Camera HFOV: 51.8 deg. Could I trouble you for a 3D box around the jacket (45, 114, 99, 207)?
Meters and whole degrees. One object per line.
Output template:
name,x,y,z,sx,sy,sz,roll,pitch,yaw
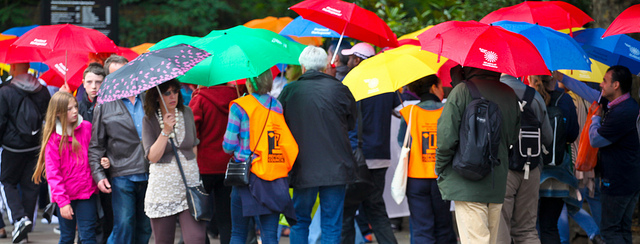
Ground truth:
jacket,-5.713,0.940,15.107,1.111,2.005,0.384,4,-16,-19

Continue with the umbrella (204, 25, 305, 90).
umbrella,-1.700,-1.129,15.464,1.953,1.667,1.023,-20,-36,-16

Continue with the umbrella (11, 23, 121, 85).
umbrella,-6.431,-1.783,16.694,2.405,1.273,2.235,7,14,19

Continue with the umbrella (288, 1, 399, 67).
umbrella,0.635,-2.362,16.215,2.173,1.093,1.941,22,-7,1

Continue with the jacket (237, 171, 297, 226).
jacket,-1.072,1.636,14.999,1.672,1.449,0.999,2,2,12

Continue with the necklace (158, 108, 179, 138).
necklace,-3.326,0.037,14.589,0.510,0.581,0.168,-2,10,18

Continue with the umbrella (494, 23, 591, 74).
umbrella,5.239,-1.706,14.816,1.632,0.443,1.580,23,23,27

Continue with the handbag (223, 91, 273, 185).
handbag,-1.659,0.767,14.614,0.930,1.251,0.235,-8,-16,27

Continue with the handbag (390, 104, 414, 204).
handbag,1.909,0.853,15.427,0.443,2.069,0.657,0,-15,-2

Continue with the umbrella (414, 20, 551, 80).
umbrella,3.768,-1.776,14.827,2.828,0.728,2.317,7,30,-5

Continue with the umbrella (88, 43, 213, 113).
umbrella,-3.586,-1.103,14.681,1.781,0.867,1.611,-23,12,14

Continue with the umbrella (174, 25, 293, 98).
umbrella,-1.865,-1.548,14.949,2.028,1.081,1.916,17,45,39
